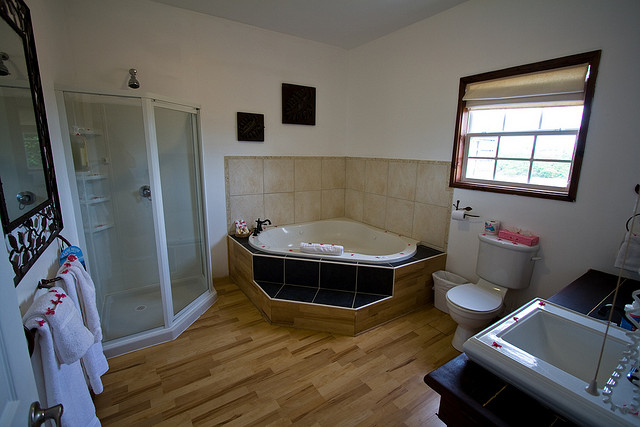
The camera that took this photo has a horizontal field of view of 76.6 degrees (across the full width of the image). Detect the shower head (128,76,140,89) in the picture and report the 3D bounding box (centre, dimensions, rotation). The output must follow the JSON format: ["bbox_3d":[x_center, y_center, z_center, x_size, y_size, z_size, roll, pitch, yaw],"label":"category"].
[{"bbox_3d":[-1.869,-1.307,4.060,0.107,0.114,0.158,-4,13,-24],"label":"shower head"}]

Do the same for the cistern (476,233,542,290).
[{"bbox_3d":[1.819,0.432,3.903,0.330,0.520,0.570,-31,38,-32],"label":"cistern"}]

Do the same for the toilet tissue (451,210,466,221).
[{"bbox_3d":[1.425,0.021,4.167,0.133,0.116,0.101,3,7,42],"label":"toilet tissue"}]

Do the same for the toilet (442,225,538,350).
[{"bbox_3d":[1.581,0.760,3.888,0.863,1.058,0.577,-18,28,-33],"label":"toilet"}]
